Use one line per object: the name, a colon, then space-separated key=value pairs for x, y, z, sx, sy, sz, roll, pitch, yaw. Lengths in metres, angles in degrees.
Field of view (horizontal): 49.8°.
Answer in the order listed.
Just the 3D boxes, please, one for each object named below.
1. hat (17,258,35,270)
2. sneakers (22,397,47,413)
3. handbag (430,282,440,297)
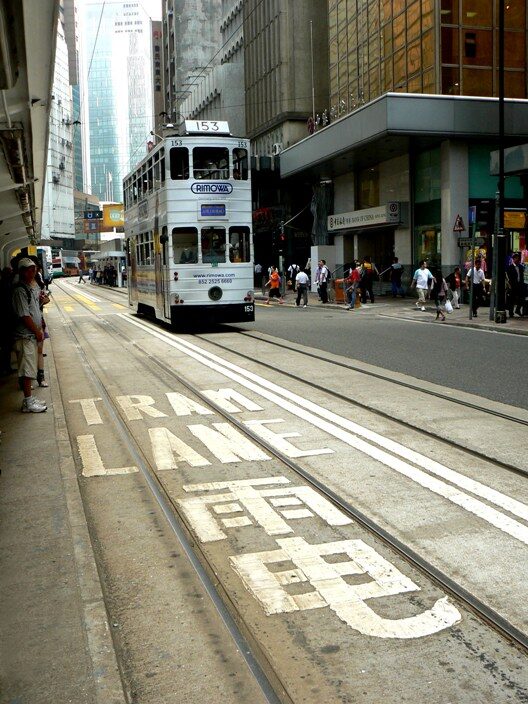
hat: x=-3.271 y=-1.240 z=7.843 sx=0.205 sy=0.178 sz=0.413 roll=-2 pitch=5 yaw=-21
sneakers: x=-3.134 y=0.711 z=7.831 sx=0.298 sy=0.169 sz=0.190 roll=3 pitch=13 yaw=11
handbag: x=6.098 y=-2.270 z=20.436 sx=0.307 sy=0.565 sz=0.273 roll=4 pitch=7 yaw=44
